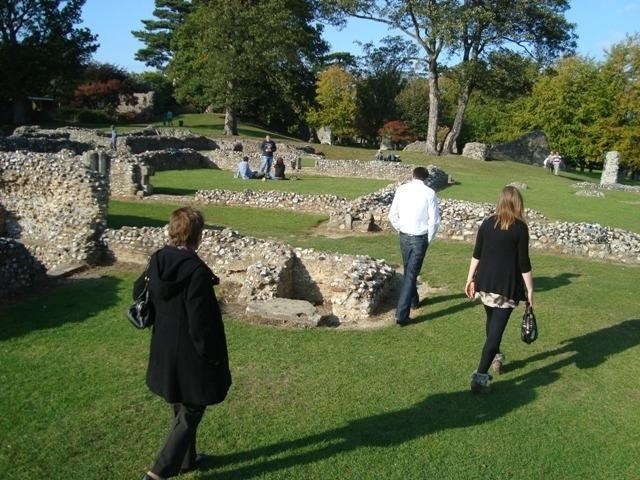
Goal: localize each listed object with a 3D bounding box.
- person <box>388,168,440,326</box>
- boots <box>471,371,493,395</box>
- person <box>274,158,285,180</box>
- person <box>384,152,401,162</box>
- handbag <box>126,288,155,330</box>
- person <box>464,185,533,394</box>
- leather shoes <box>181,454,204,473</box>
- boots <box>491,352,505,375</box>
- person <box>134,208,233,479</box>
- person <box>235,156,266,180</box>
[{"bbox_3d":[1.671,0.085,10.015,0.696,2.830,0.753,-1,11,-21],"label":"person"},{"bbox_3d":[2.328,2.074,8.014,0.350,0.379,0.235,0,-6,14],"label":"boots"},{"bbox_3d":[-2.114,-3.750,28.508,0.587,1.089,0.824,3,10,-4],"label":"person"},{"bbox_3d":[5.804,-6.615,43.541,1.294,0.533,3.286,6,11,11],"label":"person"},{"bbox_3d":[-2.061,0.782,6.420,0.316,0.472,0.191,18,18,35],"label":"handbag"},{"bbox_3d":[2.592,0.706,7.978,0.755,2.981,0.626,2,10,-9],"label":"person"},{"bbox_3d":[-1.548,2.723,6.748,0.108,0.131,0.322,8,13,25],"label":"leather shoes"},{"bbox_3d":[2.739,1.886,8.481,0.163,0.218,0.478,0,-6,17],"label":"boots"},{"bbox_3d":[-1.591,1.243,6.404,1.042,3.182,0.752,-1,11,-21],"label":"person"},{"bbox_3d":[-3.505,-3.770,28.563,1.362,1.196,1.287,-1,11,-23],"label":"person"}]
